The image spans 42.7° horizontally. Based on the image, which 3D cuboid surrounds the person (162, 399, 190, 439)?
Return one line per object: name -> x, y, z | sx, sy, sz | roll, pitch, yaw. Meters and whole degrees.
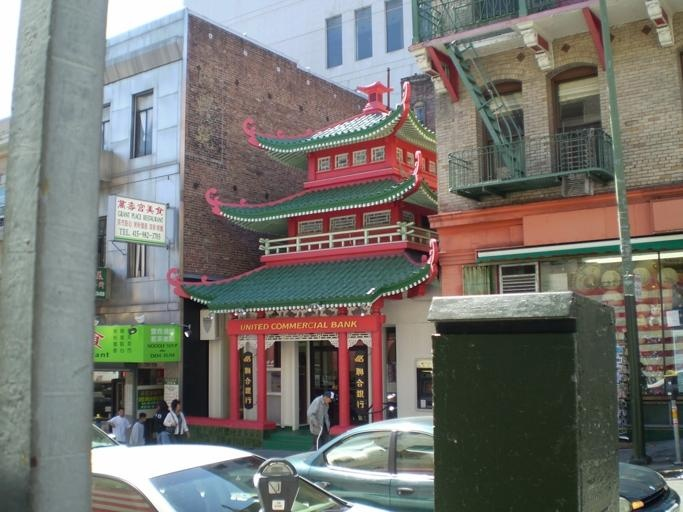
person -> -4.248, 4.466, 22.457 | 0.634, 1.454, 0.442 | 0, 3, -42
